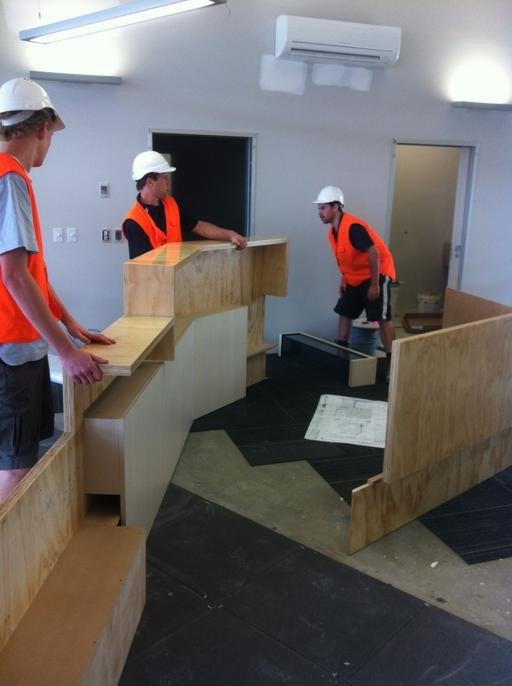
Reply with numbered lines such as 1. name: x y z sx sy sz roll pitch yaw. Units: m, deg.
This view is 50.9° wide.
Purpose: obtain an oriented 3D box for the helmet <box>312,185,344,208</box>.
1. helmet: 0.636 -1.320 4.813 0.257 0.173 0.204 1 20 -6

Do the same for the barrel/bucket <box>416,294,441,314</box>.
1. barrel/bucket: 2.453 -0.564 7.716 0.278 0.227 0.512 10 13 37

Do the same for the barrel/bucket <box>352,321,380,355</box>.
1. barrel/bucket: 1.127 -0.078 5.636 0.289 0.335 0.299 -2 20 1

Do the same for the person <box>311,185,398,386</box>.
1. person: 0.935 -0.597 5.014 0.744 1.651 0.711 5 10 21

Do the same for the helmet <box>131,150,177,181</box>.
1. helmet: -0.679 -1.160 3.524 0.250 0.200 0.208 2 10 1
